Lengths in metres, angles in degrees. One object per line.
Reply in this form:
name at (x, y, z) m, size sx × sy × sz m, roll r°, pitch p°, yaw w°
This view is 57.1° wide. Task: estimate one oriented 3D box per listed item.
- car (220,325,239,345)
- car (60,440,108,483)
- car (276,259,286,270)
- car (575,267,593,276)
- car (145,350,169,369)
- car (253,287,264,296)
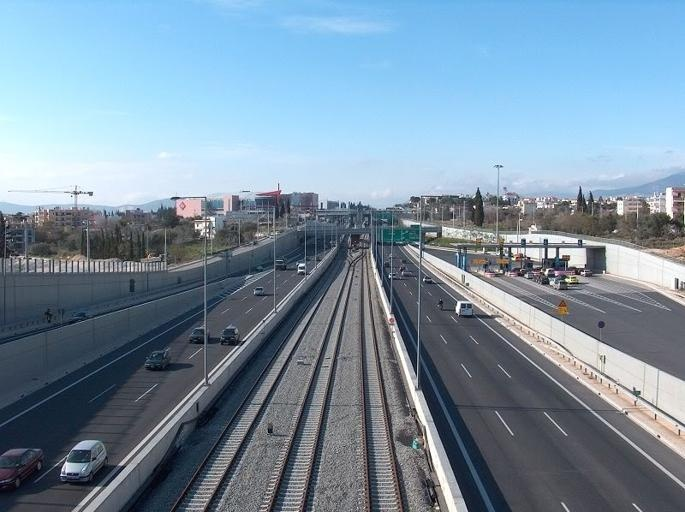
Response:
car at (-9.537, 6.784, 53.512) m, size 0.921 × 0.967 × 1.778 m, roll -1°, pitch -2°, yaw -1°
car at (-13.796, 10.915, 33.663) m, size 1.367 × 1.216 × 2.386 m, roll 0°, pitch -1°, yaw -3°
car at (-10.331, 1.643, 104.807) m, size 1.181 × 1.183 × 2.293 m, roll 2°, pitch 20°, yaw 5°
car at (36.106, 2.453, 94.491) m, size 1.336 × 0.755 × 2.152 m, roll 0°, pitch 8°, yaw 13°
car at (-13.920, 7.779, 46.979) m, size 1.389 × 1.230 × 1.525 m, roll -1°, pitch 12°, yaw 10°
car at (-10.550, 4.404, 78.322) m, size 0.856 × 0.783 × 2.008 m, roll 0°, pitch -1°, yaw -6°
